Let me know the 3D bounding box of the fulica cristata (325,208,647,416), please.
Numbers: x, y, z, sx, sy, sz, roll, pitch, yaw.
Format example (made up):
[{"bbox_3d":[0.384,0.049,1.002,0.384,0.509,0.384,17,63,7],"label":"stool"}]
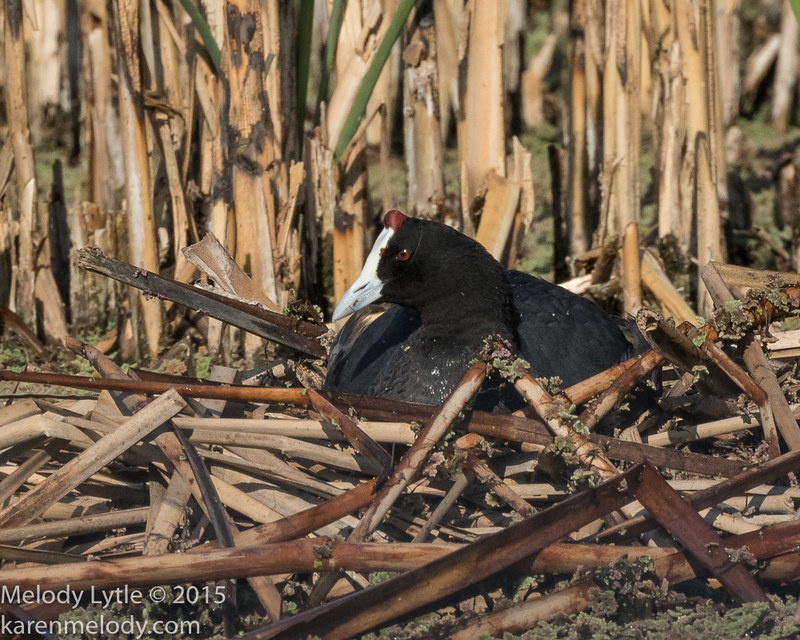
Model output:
[{"bbox_3d":[0.380,-0.067,8.233,1.503,0.920,1.026,-6,5,-20],"label":"fulica cristata"}]
